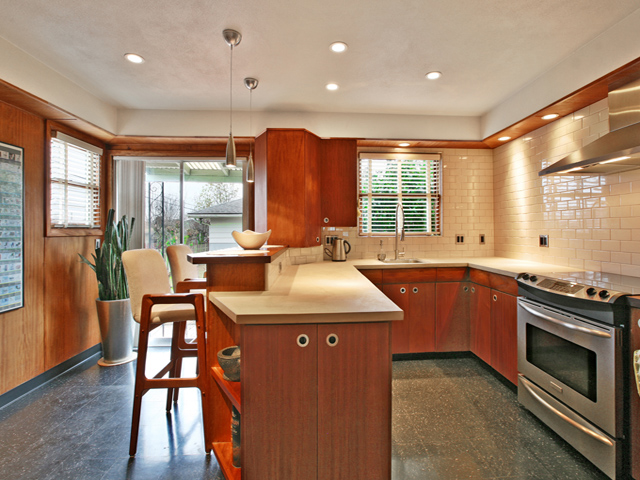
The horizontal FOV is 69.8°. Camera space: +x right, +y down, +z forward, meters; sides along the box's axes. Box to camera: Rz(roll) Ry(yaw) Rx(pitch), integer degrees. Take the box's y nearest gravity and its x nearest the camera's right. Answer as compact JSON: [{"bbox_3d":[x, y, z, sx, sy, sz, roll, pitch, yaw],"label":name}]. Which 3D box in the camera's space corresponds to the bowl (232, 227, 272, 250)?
[{"bbox_3d":[-0.608,-0.002,4.081,0.302,0.233,0.354,-2,14,-8],"label":"bowl"}]

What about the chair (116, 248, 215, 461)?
[{"bbox_3d":[-1.298,0.860,3.891,0.664,1.474,1.244,-5,15,-16],"label":"chair"}]

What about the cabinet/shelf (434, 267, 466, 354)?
[{"bbox_3d":[1.483,0.790,5.195,0.379,0.904,0.278,0,15,2],"label":"cabinet/shelf"}]

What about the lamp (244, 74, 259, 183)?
[{"bbox_3d":[-0.715,-1.136,4.747,0.190,1.006,0.179,2,17,-2],"label":"lamp"}]

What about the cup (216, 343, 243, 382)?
[{"bbox_3d":[-0.639,0.894,3.382,0.245,0.203,0.282,0,-4,-5],"label":"cup"}]

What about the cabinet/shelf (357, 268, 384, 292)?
[{"bbox_3d":[0.575,0.399,5.191,0.395,0.363,0.207,0,-4,-2],"label":"cabinet/shelf"}]

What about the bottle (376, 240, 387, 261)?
[{"bbox_3d":[0.761,0.131,5.667,0.118,0.232,0.217,2,14,10],"label":"bottle"}]

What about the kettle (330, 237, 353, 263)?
[{"bbox_3d":[0.243,0.120,5.560,0.242,0.284,0.386,2,14,10],"label":"kettle"}]
